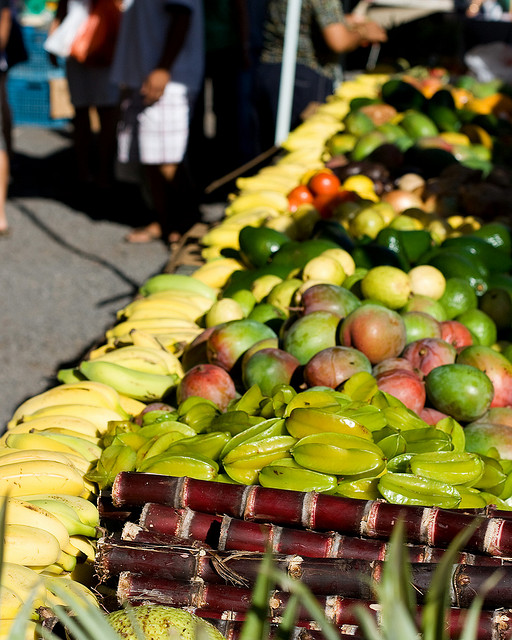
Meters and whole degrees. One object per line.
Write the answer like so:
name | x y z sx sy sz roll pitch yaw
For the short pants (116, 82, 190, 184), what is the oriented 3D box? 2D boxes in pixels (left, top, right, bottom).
short pants | -0.677 -1.168 3.737 0.359 0.557 0.560 -8 18 -44

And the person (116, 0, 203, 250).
person | -0.603 -1.092 3.740 0.527 1.364 1.466 4 13 -6

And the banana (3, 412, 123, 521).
banana | -0.523 0.348 1.547 0.241 0.072 0.289 12 12 -16

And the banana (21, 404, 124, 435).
banana | -0.524 0.294 1.742 0.184 0.052 0.046 7 -20 5

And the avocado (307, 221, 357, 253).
avocado | 0.338 -0.360 2.653 0.159 0.101 0.193 1 3 14

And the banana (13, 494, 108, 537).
banana | -0.428 0.427 1.295 0.209 0.054 0.079 11 29 3

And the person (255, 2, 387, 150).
person | 0.447 -1.903 4.706 0.874 1.054 1.109 4 13 -7

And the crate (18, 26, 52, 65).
crate | -2.112 -2.670 5.781 0.218 0.258 0.414 2 13 -14

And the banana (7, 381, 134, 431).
banana | -0.565 0.273 1.862 0.500 0.105 0.168 -6 12 9

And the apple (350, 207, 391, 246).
apple | 0.523 -0.430 2.721 0.180 0.158 0.253 6 12 5

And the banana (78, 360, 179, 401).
banana | -0.355 0.190 1.967 0.416 0.097 0.127 7 13 -8

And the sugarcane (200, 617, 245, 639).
sugarcane | -0.059 0.530 1.034 0.070 0.030 0.032 6 13 5
